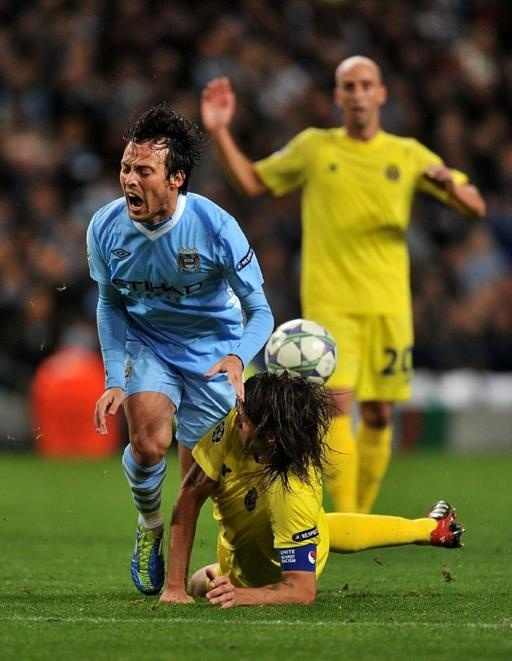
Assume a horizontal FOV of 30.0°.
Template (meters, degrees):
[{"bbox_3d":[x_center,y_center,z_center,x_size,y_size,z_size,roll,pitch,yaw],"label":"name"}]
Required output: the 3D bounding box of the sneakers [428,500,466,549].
[{"bbox_3d":[0.662,0.694,3.290,0.089,0.125,0.180,-10,45,-9],"label":"sneakers"}]

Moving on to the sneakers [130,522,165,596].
[{"bbox_3d":[-0.347,0.768,3.212,0.097,0.114,0.247,-1,51,-2],"label":"sneakers"}]

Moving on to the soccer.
[{"bbox_3d":[0.181,0.071,3.730,0.280,0.238,0.285,8,31,3],"label":"soccer"}]
